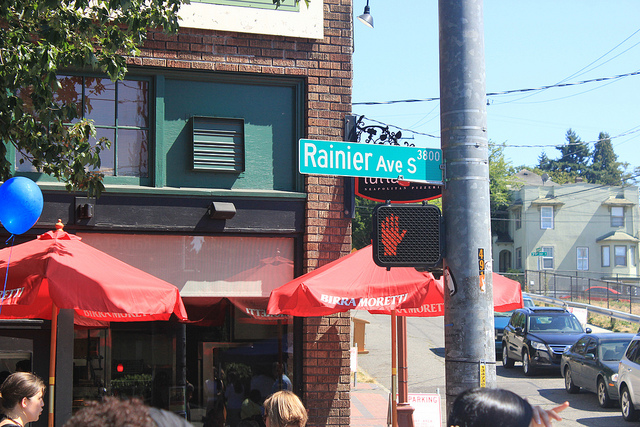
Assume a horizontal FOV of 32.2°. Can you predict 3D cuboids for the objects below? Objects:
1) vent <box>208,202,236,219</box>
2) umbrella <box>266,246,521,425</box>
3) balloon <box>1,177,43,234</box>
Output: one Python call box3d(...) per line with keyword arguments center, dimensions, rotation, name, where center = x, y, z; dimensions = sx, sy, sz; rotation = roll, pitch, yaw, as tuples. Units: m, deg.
box3d(center=(-1.769, -0.066, 20.309), dimensions=(0.522, 0.281, 0.334), rotation=(5, -21, -37), name="vent")
box3d(center=(0.657, 1.456, 19.284), dimensions=(3.483, 2.462, 3.527), rotation=(-9, -9, 37), name="umbrella")
box3d(center=(-4.916, -0.170, 18.041), dimensions=(1.081, 1.097, 0.429), rotation=(2, 1, 5), name="balloon")
